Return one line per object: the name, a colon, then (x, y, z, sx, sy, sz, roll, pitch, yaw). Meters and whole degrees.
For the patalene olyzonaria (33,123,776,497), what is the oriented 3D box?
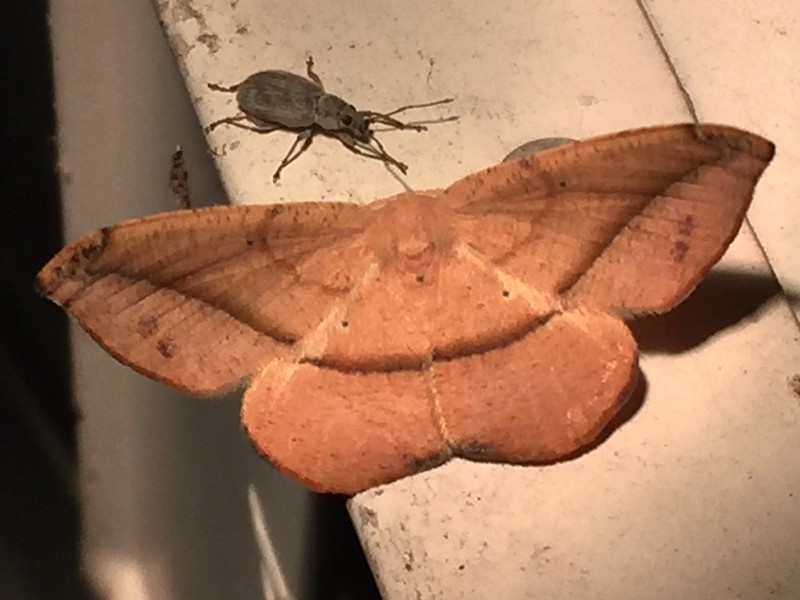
patalene olyzonaria: (0.034, 0.066, 2.705, 1.947, 0.321, 0.792, -9, 93, 2)
